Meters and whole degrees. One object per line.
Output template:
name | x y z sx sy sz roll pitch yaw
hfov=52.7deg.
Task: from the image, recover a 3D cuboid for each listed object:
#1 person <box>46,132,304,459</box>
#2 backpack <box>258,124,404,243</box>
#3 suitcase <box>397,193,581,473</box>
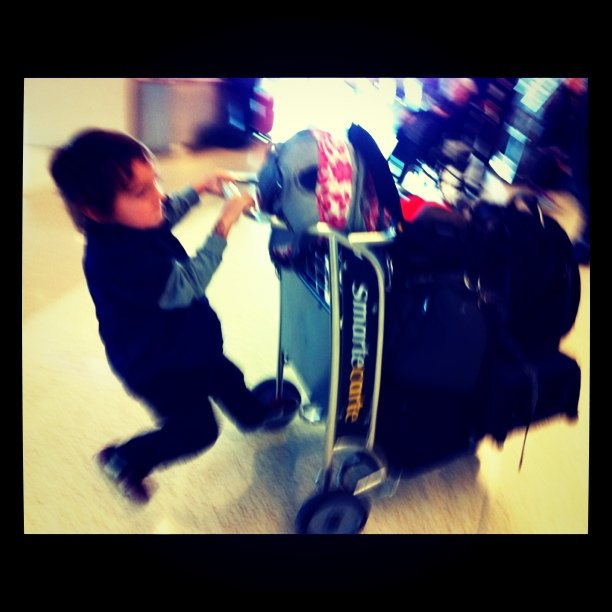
person | -0.442 -0.142 2.396 0.970 1.361 0.629 -12 13 -25
backpack | 0.043 -0.440 2.088 0.350 0.167 0.471 35 -7 -14
suitcase | 0.530 -0.048 2.245 0.805 0.737 0.746 1 35 -1
